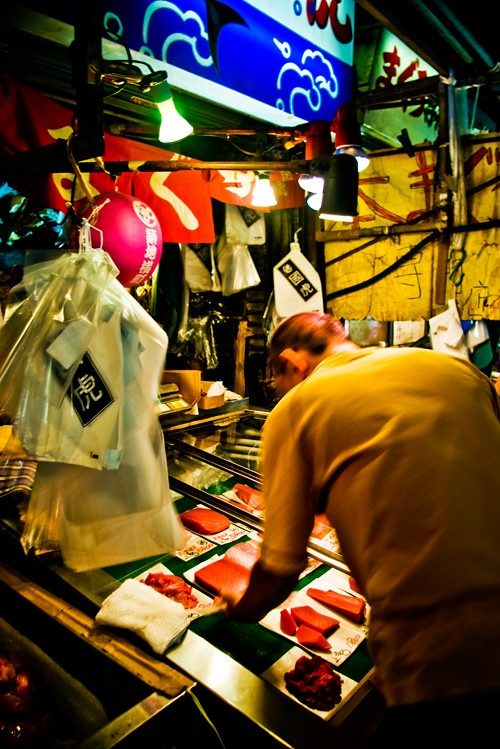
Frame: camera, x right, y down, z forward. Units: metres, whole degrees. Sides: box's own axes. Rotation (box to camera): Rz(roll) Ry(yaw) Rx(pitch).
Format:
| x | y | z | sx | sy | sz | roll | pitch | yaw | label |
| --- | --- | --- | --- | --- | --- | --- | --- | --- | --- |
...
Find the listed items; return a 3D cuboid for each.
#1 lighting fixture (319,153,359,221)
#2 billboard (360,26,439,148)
| x | y | z | sx | sy | sz | roll | pitch | yaw | label |
| --- | --- | --- | --- | --- | --- | --- | --- | --- | --- |
| 0.492 | -1.037 | 2.833 | 0.203 | 0.321 | 0.152 | -1 | 14 | 6 | lighting fixture |
| 2.174 | -4.200 | 7.368 | 1.190 | 1.012 | 0.373 | -1 | 15 | -26 | billboard |
